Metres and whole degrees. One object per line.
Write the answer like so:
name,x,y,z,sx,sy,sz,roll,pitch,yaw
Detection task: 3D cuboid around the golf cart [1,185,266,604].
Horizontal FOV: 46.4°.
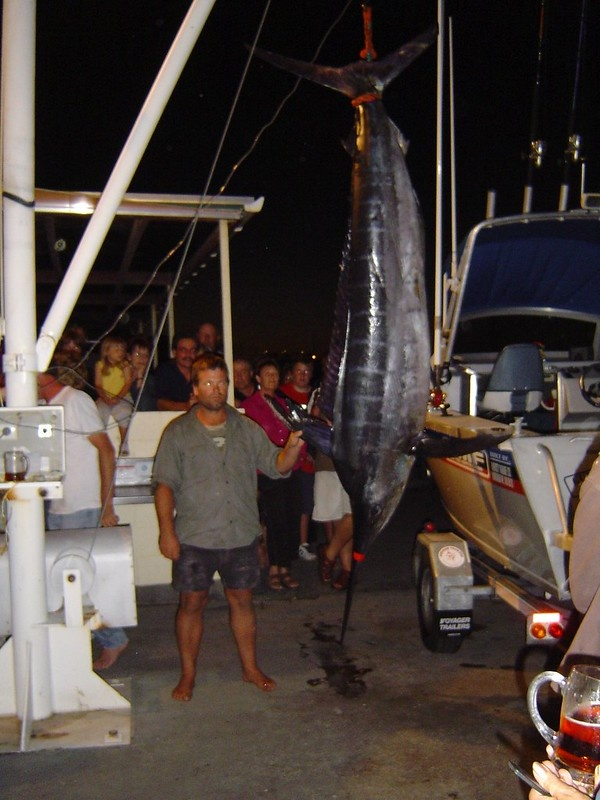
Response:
golf cart,-1.125,-0.060,6.290,2.730,3.510,2.642,0,-2,-15

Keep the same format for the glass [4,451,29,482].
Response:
glass,-1.118,0.258,2.742,0.082,0.125,0.037,-2,1,-22

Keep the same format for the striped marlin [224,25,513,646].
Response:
striped marlin,0.189,-0.184,1.828,0.553,1.625,0.317,-1,1,4

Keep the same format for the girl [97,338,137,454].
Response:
girl,-1.287,-0.016,4.882,0.304,0.815,0.319,2,9,-13

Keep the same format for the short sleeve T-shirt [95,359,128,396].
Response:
short sleeve T-shirt,-1.412,-0.166,5.253,0.306,0.269,0.162,0,-4,-5
